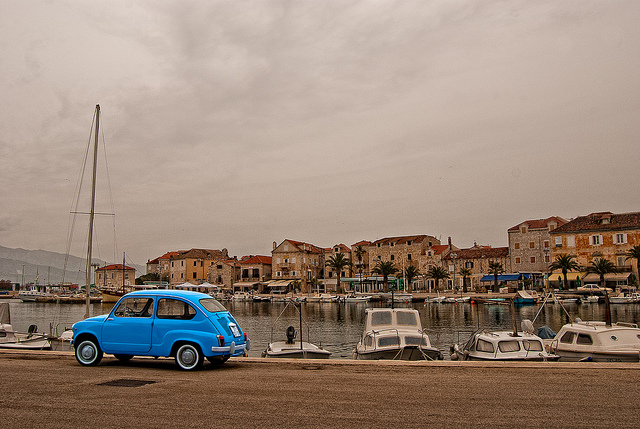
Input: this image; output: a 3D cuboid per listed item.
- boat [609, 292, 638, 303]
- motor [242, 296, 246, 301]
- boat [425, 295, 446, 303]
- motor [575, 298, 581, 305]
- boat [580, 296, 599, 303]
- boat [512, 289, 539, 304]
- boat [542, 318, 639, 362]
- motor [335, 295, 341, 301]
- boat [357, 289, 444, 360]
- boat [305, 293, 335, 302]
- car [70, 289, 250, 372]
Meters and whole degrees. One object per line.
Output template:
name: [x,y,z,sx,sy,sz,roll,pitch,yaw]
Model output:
boat: [36.942,9.965,82.492,3.891,1.350,2.032,7,-15,-31]
motor: [-13.103,14.533,119.170,0.778,0.748,0.767,3,1,-41]
boat: [16.076,11.897,96.137,3.395,1.195,0.971,-1,0,21]
motor: [31.763,10.563,83.639,0.573,0.722,0.987,-5,-14,14]
boat: [33.816,10.497,85.111,1.992,0.884,1.776,-6,-14,19]
boat: [25.955,10.255,85.386,3.052,1.808,2.003,4,-14,-22]
boat: [11.828,5.471,29.857,1.827,1.197,3.409,5,-12,-29]
motor: [3.079,13.255,107.974,0.689,0.730,1.267,-1,-13,-2]
boat: [3.487,5.361,31.048,3.249,2.447,3.629,2,-14,-15]
boat: [0.204,13.416,110.074,4.620,1.335,1.477,-2,-4,12]
car: [-5.833,4.137,25.179,6.103,2.615,3.415,0,-6,7]
